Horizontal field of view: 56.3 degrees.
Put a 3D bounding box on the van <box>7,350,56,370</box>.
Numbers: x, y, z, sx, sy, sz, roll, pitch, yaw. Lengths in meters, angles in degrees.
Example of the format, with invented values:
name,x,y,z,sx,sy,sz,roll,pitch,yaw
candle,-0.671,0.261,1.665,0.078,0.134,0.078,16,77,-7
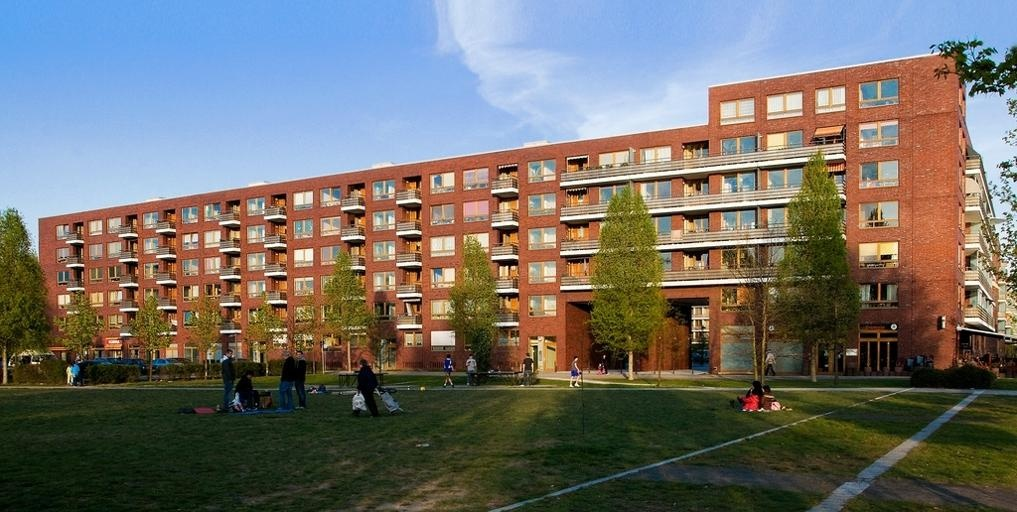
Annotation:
name,x,y,z,sx,sy,sz,roll,pitch,yaw
van,-59.387,12.710,117.500,6.334,2.340,3.493,-5,-8,18
